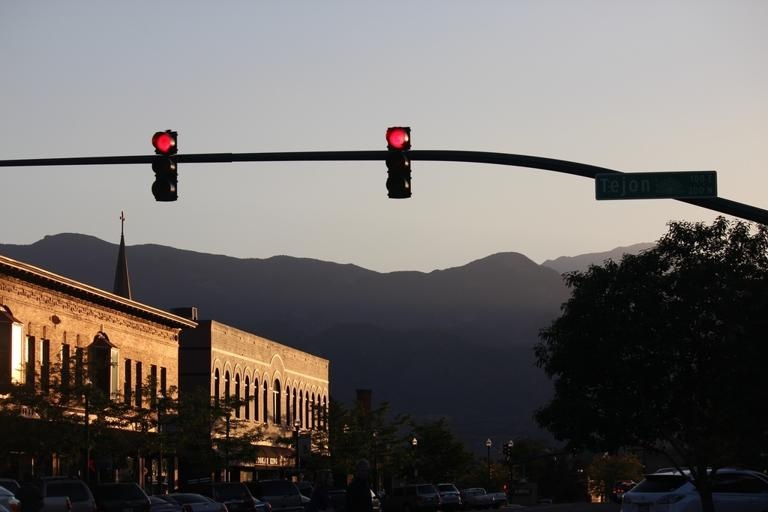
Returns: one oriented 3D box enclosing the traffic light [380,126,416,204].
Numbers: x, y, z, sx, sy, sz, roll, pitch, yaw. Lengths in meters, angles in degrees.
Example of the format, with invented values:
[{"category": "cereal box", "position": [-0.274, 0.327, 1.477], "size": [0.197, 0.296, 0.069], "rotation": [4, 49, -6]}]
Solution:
[{"category": "traffic light", "position": [0.653, -4.222, 81.818], "size": [1.183, 2.990, 1.195], "rotation": [5, 13, -2]}]
